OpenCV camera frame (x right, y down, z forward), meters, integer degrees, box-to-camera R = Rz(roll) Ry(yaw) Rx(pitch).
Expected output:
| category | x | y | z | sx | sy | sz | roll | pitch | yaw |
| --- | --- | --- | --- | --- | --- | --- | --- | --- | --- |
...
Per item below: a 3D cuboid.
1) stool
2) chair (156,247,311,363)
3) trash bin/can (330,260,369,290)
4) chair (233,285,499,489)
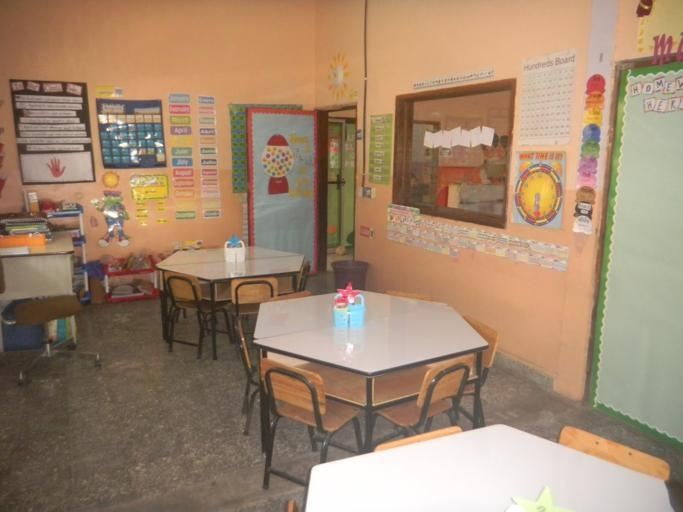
| category | x | y | z | sx | sy | sz | roll | pitch | yaw |
| --- | --- | --- | --- | --- | --- | --- | --- | --- | --- |
| stool | -2.767 | 0.641 | 4.942 | 0.830 | 0.726 | 0.794 | -11 | 46 | -33 |
| chair | -1.137 | 0.441 | 5.389 | 1.128 | 0.619 | 1.171 | -5 | 13 | -22 |
| trash bin/can | 0.113 | 0.203 | 6.197 | 0.359 | 0.307 | 0.379 | -4 | 6 | -32 |
| chair | 0.157 | 0.954 | 3.672 | 1.311 | 0.779 | 1.161 | -6 | 16 | -17 |
